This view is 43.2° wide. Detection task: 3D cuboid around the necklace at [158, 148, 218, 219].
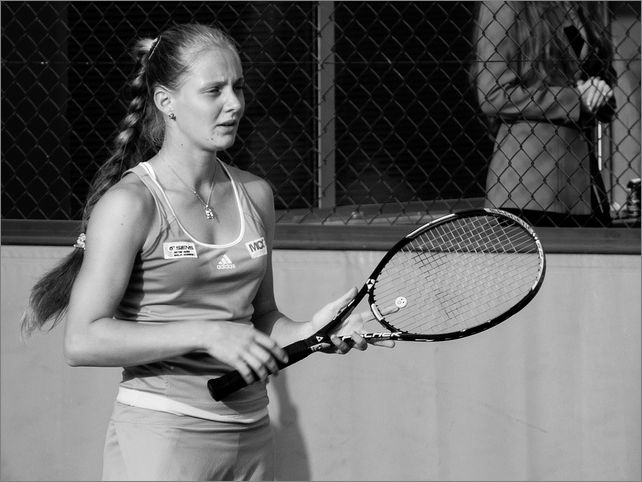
[{"bbox_3d":[-0.510,-0.228,3.236,0.149,0.121,0.234,3,36,-30],"label":"necklace"}]
